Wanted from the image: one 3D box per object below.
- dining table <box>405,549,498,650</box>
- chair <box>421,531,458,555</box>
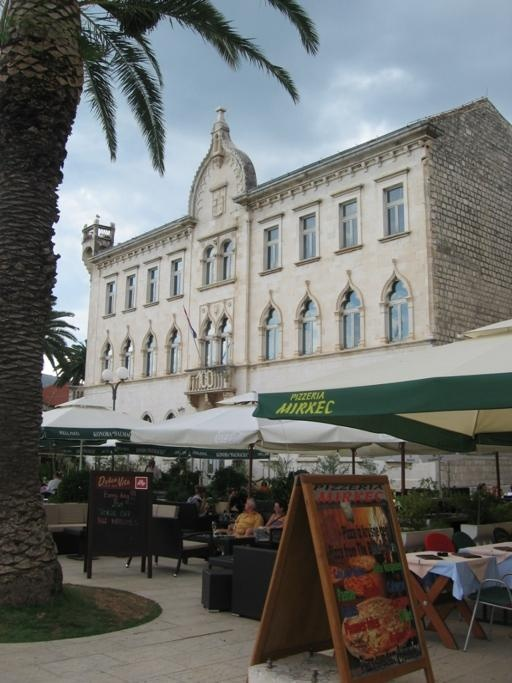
[{"bbox_3d":[2.011,2.709,7.334,0.953,0.907,1.014,-8,-17,36],"label":"dining table"},{"bbox_3d":[2.161,2.383,8.254,0.289,0.345,0.326,4,-29,-9],"label":"chair"}]
